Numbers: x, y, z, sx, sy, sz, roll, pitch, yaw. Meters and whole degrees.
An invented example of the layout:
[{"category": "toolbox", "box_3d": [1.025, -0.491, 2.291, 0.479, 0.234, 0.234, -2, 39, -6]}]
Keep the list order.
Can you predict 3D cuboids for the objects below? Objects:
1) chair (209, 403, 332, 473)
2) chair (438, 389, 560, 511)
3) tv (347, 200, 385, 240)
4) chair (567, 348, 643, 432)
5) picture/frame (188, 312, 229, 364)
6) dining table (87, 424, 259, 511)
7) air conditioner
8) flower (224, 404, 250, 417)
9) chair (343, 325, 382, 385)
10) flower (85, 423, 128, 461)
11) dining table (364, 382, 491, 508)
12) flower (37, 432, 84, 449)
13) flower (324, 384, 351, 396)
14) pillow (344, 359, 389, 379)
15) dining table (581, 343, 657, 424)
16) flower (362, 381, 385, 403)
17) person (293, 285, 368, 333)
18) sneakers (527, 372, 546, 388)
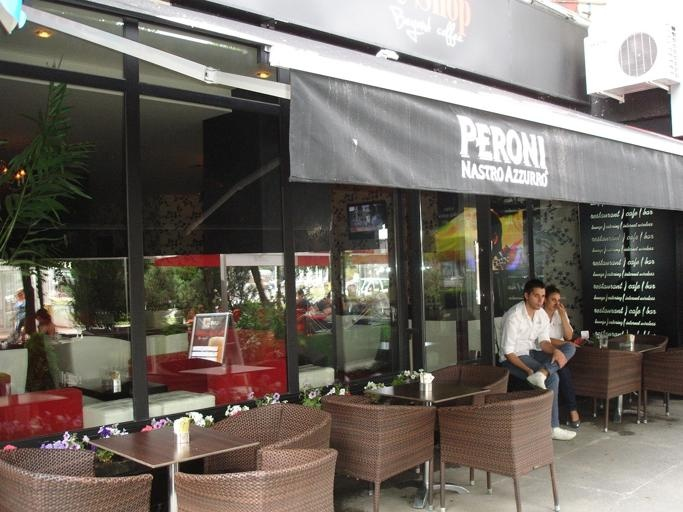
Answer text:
[{"category": "chair", "box_3d": [-0.471, 1.339, 4.118, 0.598, 0.716, 0.573, 11, -12, -44]}, {"category": "chair", "box_3d": [1.456, 1.495, 5.157, 0.988, 1.258, 1.148, -2, -4, 36]}, {"category": "tv", "box_3d": [0.261, -0.409, 6.431, 0.477, 0.332, 0.062, -3, -3, -43]}, {"category": "chair", "box_3d": [3.396, 1.664, 7.484, 0.969, 1.201, 0.964, 0, 1, -43]}, {"category": "picture/frame", "box_3d": [-1.170, 0.718, 4.755, 0.054, 0.532, 0.383, -2, -13, 43]}, {"category": "dining table", "box_3d": [-1.070, 1.208, 3.549, 0.738, 0.730, 0.762, -1, -1, 41]}, {"category": "air conditioner", "box_3d": [3.599, -2.427, 6.811, 0.372, 0.952, 1.095, -2, -2, -42]}, {"category": "flower", "box_3d": [-0.882, 1.287, 4.569, 0.125, 0.067, 0.128, 2, 10, 16]}, {"category": "chair", "box_3d": [0.212, 1.131, 6.171, 0.351, 0.631, 0.669, -3, -2, 39]}, {"category": "flower", "box_3d": [-1.728, 1.361, 4.043, 0.161, 0.334, 0.359, -8, -19, 27]}, {"category": "dining table", "box_3d": [0.864, 1.696, 5.342, 1.120, 1.089, 1.091, 1, -4, -31]}, {"category": "flower", "box_3d": [-1.958, 1.320, 3.887, 0.187, 0.083, 0.142, 2, -3, -43]}, {"category": "flower", "box_3d": [-0.024, 1.353, 5.530, 0.174, 0.072, 0.182, 0, -6, 32]}, {"category": "pillow", "box_3d": [0.275, 1.276, 6.206, 0.157, 0.200, 0.770, -5, -12, 35]}, {"category": "dining table", "box_3d": [3.528, 1.484, 7.295, 0.953, 1.188, 1.003, -1, 1, -42]}, {"category": "flower", "box_3d": [0.311, 1.377, 5.512, 0.250, 0.181, 0.253, 15, -9, -19]}, {"category": "person", "box_3d": [-0.151, 0.529, 5.773, 0.174, 0.454, 1.120, -4, -1, 21]}, {"category": "sneakers", "box_3d": [2.247, 1.444, 6.371, 0.196, 0.195, 0.155, -4, -1, 29]}]
